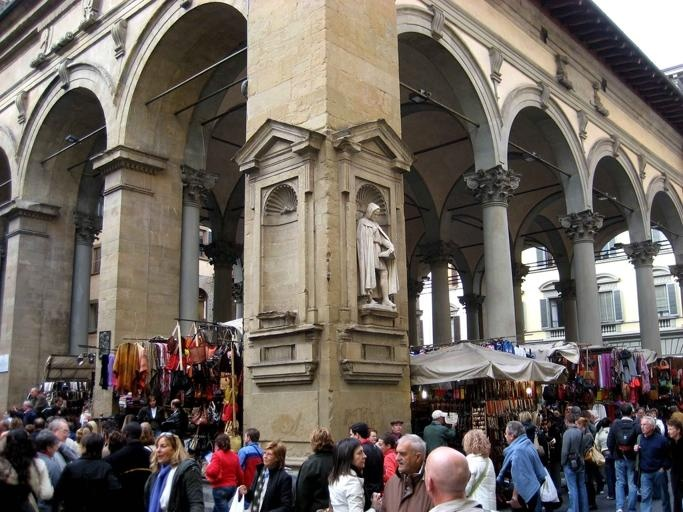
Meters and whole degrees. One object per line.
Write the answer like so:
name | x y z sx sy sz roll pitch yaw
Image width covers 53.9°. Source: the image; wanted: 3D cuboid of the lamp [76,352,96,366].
lamp | -7.579 3.101 20.042 0.551 0.352 0.734 3 -16 -17

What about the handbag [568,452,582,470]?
handbag | 4.270 3.746 12.317 0.251 0.253 0.437 -1 -8 11

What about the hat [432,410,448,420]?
hat | 1.862 2.896 12.395 0.343 0.135 0.215 1 -4 -44

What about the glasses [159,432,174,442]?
glasses | -2.143 2.228 8.301 0.085 0.114 0.122 0 -49 1
